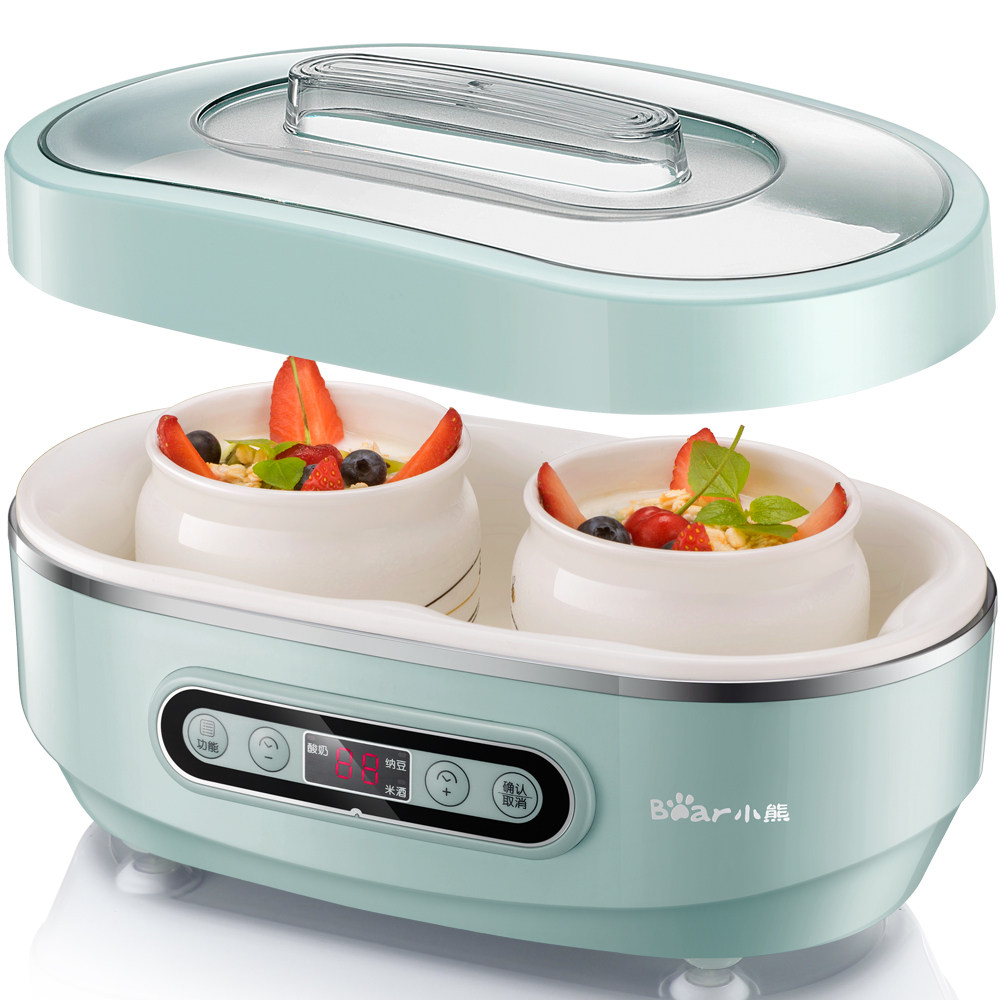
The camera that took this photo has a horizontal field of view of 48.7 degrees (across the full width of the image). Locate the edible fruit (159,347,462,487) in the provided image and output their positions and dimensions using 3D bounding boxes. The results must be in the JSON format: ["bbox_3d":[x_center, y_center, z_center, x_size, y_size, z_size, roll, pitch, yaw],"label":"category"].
[{"bbox_3d":[-0.187,-0.099,1.012,0.207,0.058,0.186,8,17,22],"label":"edible fruit"}]

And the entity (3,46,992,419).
[{"bbox_3d":[-0.049,-0.171,0.801,0.654,0.119,0.371,11,28,21],"label":"entity"}]

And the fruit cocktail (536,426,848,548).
[{"bbox_3d":[0.184,0.010,0.914,0.157,0.055,0.161,10,16,37],"label":"fruit cocktail"}]

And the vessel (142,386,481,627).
[{"bbox_3d":[-0.161,-0.034,1.023,0.323,0.146,0.269,0,19,-4],"label":"vessel"}]
